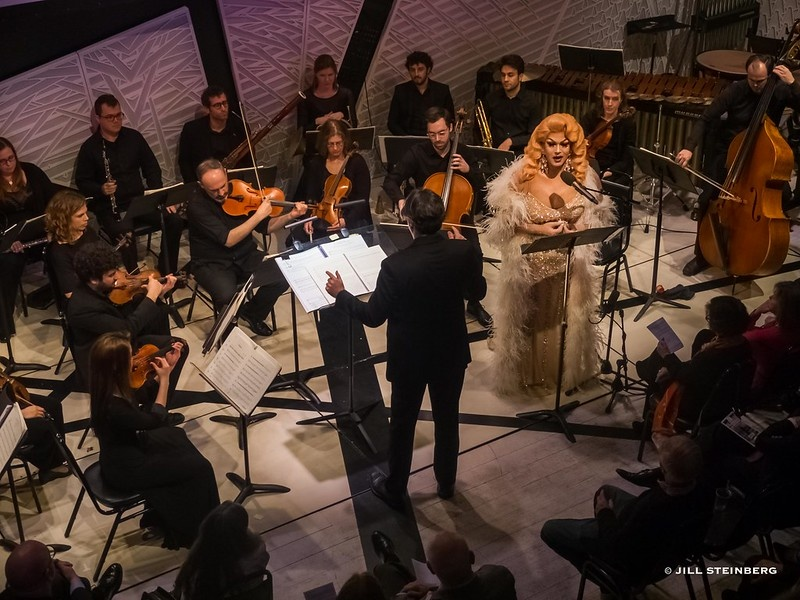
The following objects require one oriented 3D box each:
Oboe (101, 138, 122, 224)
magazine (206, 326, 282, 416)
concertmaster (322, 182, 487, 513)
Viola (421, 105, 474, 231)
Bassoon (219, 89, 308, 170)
[{"bbox_3d":[-3.273,-1.402,7.348,0.154,1.049,0.153,-10,1,5],"label":"Oboe"},{"bbox_3d":[-1.112,0.503,4.503,0.347,0.586,0.617,-15,19,-41],"label":"magazine"},{"bbox_3d":[0.097,0.410,4.378,0.863,2.297,0.438,-1,14,6],"label":"concertmaster"},{"bbox_3d":[0.490,-1.244,6.179,0.443,1.080,0.328,7,-3,12],"label":"Viola"},{"bbox_3d":[-1.733,-2.192,8.128,0.319,0.276,1.967,2,42,47],"label":"Bassoon"}]
